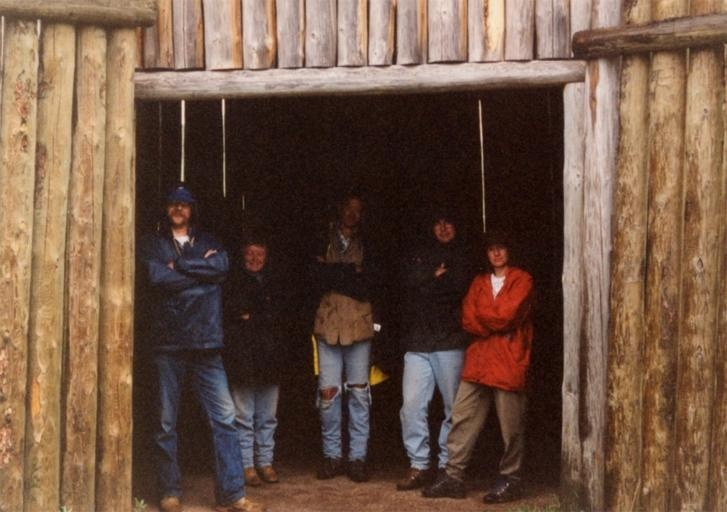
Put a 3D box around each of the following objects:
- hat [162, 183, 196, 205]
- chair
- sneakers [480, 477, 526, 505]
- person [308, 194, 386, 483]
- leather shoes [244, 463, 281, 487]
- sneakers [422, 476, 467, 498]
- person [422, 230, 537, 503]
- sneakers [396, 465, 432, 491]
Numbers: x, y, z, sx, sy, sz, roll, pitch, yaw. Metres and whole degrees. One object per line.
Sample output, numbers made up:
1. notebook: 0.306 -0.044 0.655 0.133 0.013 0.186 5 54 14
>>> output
1. hat: -1.571 -0.525 9.407 0.249 0.112 0.330 1 4 -6
2. chair: -0.008 0.974 9.905 0.418 0.603 0.234 5 7 3
3. sneakers: 1.135 1.909 9.119 0.394 0.182 0.147 0 0 -35
4. person: -0.150 0.700 9.764 0.579 2.435 0.535 0 4 -3
5. leather shoes: -0.882 1.880 9.542 0.251 0.105 0.139 9 -11 -33
6. sneakers: 0.685 1.920 9.283 0.388 0.201 0.147 2 0 -3
7. person: 1.018 0.924 9.214 0.764 2.138 0.435 1 4 9
8. sneakers: 0.452 1.893 9.503 0.371 0.163 0.135 2 -1 -38
